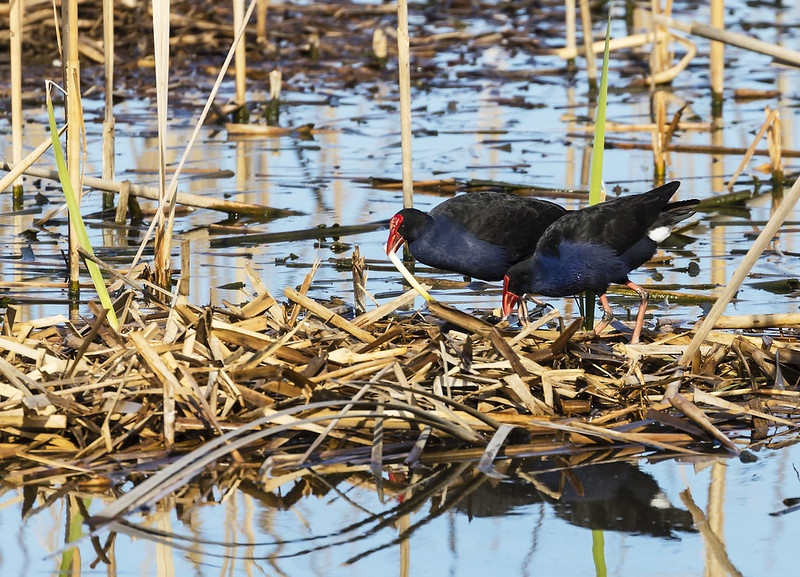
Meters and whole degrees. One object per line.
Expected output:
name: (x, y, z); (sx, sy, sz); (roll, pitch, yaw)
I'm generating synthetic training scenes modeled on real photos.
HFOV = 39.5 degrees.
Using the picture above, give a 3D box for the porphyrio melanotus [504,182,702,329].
porphyrio melanotus: (1.101, -0.220, 6.276); (0.965, 0.802, 0.491); (7, 24, 7)
